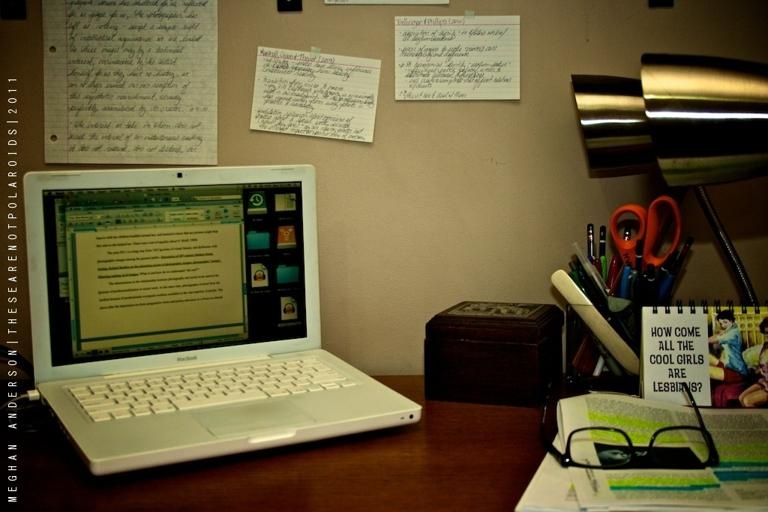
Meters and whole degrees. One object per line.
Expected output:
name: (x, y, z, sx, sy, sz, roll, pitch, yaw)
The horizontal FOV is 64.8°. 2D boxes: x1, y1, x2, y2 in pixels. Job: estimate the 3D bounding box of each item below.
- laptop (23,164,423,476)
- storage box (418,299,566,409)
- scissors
laptop: (-0.276, 0.061, 1.049, 0.568, 0.404, 0.465, -2, 6, -37)
storage box: (0.174, 0.220, 1.240, 0.234, 0.151, 0.241, 4, -11, -2)
scissors: (0.536, -0.041, 1.229, 0.158, 0.227, 0.046, 1, 4, 35)
